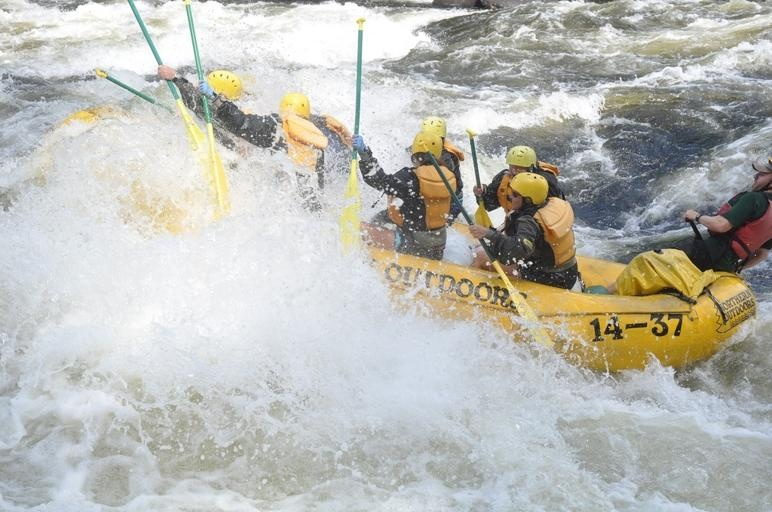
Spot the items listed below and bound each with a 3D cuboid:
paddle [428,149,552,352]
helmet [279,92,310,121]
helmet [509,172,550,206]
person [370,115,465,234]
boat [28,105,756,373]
[{"bbox_3d":[1.383,0.009,12.615,0.320,0.144,3.461,-37,86,-14],"label":"paddle"},{"bbox_3d":[-1.334,-2.162,13.752,0.451,0.386,0.381,3,28,10],"label":"helmet"},{"bbox_3d":[1.876,-0.877,12.361,0.513,0.331,0.346,3,29,-3],"label":"helmet"},{"bbox_3d":[0.447,-1.127,13.648,0.976,2.004,0.779,25,62,4],"label":"person"},{"bbox_3d":[0.800,0.573,13.502,9.823,1.581,2.721,17,46,7],"label":"boat"}]
